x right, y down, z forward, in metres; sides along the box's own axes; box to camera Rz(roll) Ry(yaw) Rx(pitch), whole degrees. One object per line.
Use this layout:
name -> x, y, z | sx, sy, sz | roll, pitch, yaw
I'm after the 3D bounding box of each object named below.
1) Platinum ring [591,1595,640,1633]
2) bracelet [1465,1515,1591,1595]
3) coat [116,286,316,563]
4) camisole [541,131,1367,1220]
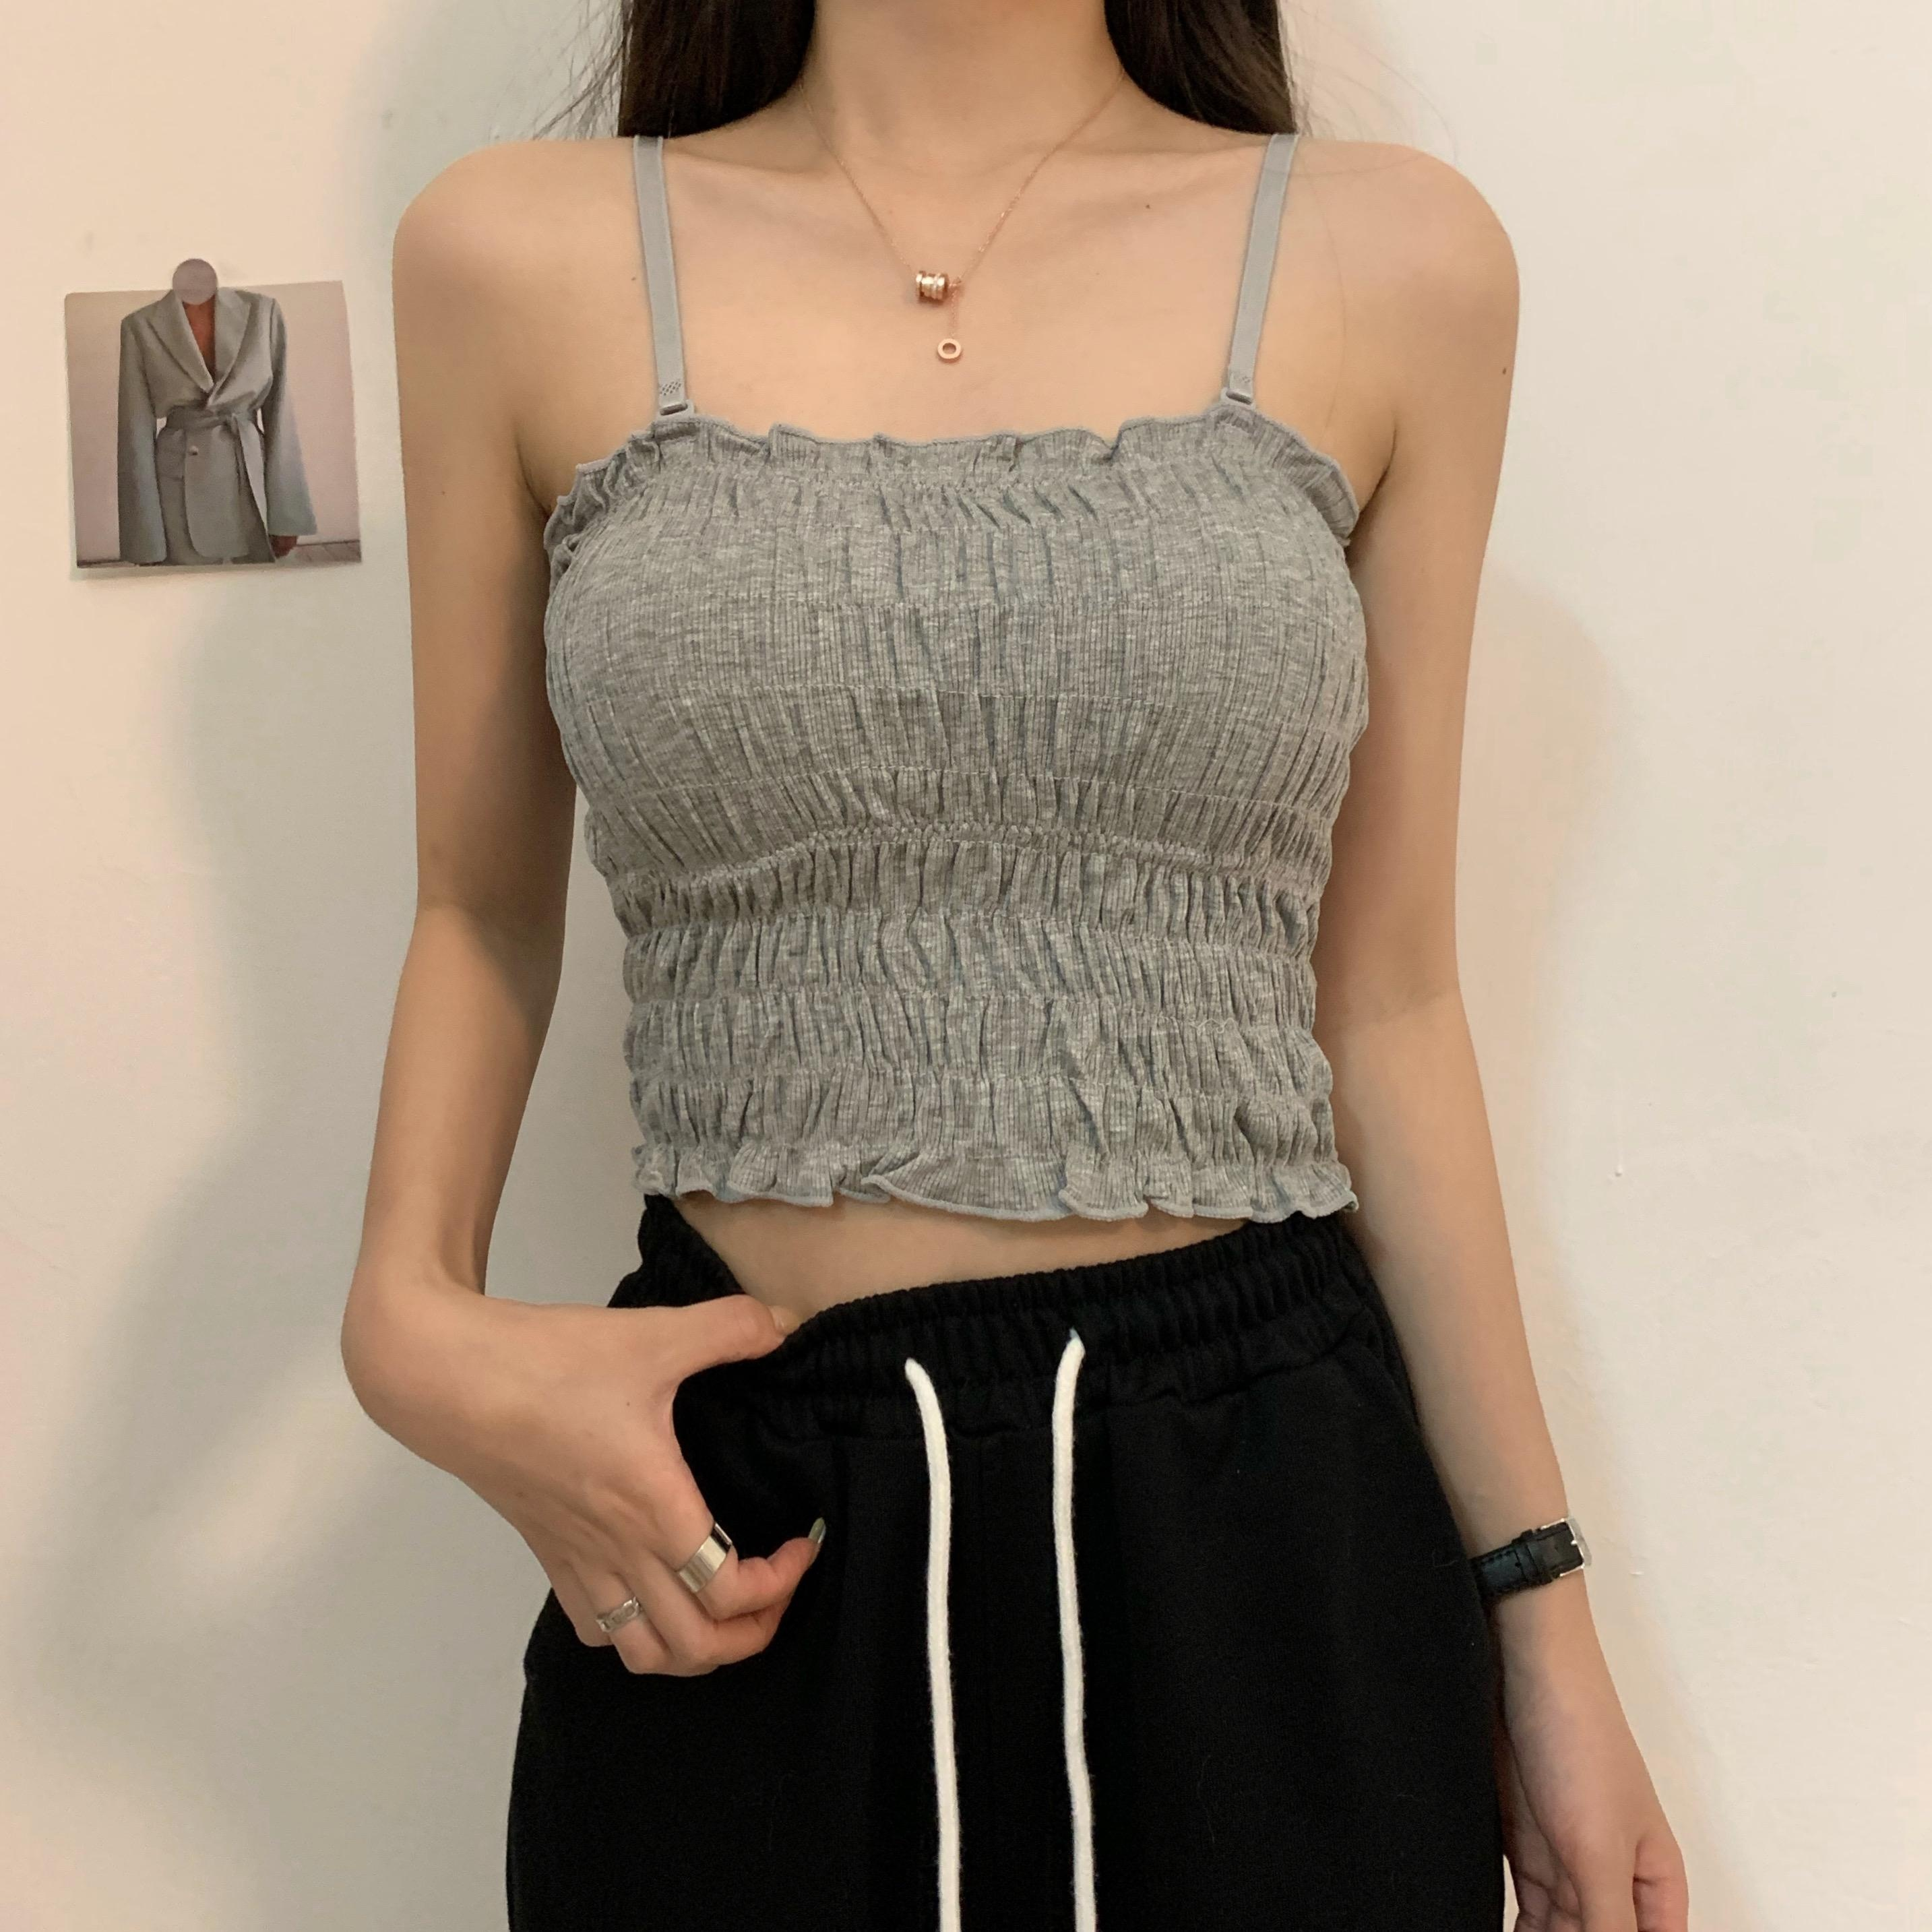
Platinum ring -> -0.177, 0.332, 1.271 | 0.030, 0.015, 0.007 | -24, 4, 5
bracelet -> 0.325, 0.338, 1.407 | 0.071, 0.065, 0.033 | -4, 81, -1
coat -> -0.561, -0.400, 1.791 | 0.146, 0.172, 0.154 | -8, 46, -5
camisole -> -0.015, -0.098, 1.379 | 0.471, 0.373, 0.453 | 1, 44, 3
